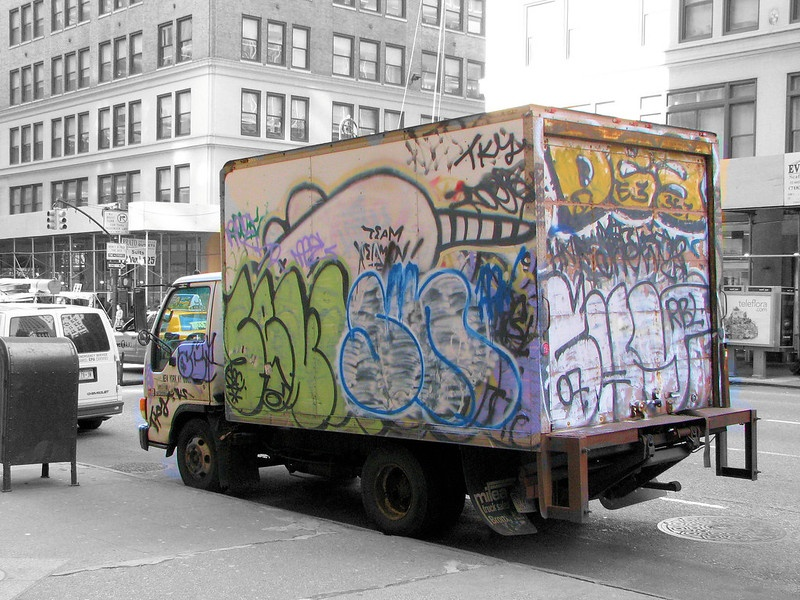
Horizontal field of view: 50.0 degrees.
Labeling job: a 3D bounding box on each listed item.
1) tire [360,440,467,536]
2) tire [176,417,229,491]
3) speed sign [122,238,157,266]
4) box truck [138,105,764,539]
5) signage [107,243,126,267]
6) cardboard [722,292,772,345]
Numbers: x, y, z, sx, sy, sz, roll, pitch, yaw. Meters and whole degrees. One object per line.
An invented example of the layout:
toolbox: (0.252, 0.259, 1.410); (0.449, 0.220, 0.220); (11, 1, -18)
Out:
tire: (0.155, 1.896, 8.732); (0.931, 1.126, 0.392); (1, -1, 45)
tire: (-2.425, 1.917, 10.659); (0.253, 0.765, 0.659); (6, 15, -47)
speed sign: (-11.479, -2.118, 37.586); (0.068, 1.097, 1.430); (-18, -10, 21)
box truck: (-0.018, 0.425, 10.578); (6.676, 4.231, 3.472); (0, 0, 36)
signage: (-11.801, -1.912, 35.717); (0.821, 1.358, 0.589); (3, -4, -34)
cardboard: (9.430, 0.492, 23.003); (0.654, 1.425, 1.269); (1, -1, -31)
